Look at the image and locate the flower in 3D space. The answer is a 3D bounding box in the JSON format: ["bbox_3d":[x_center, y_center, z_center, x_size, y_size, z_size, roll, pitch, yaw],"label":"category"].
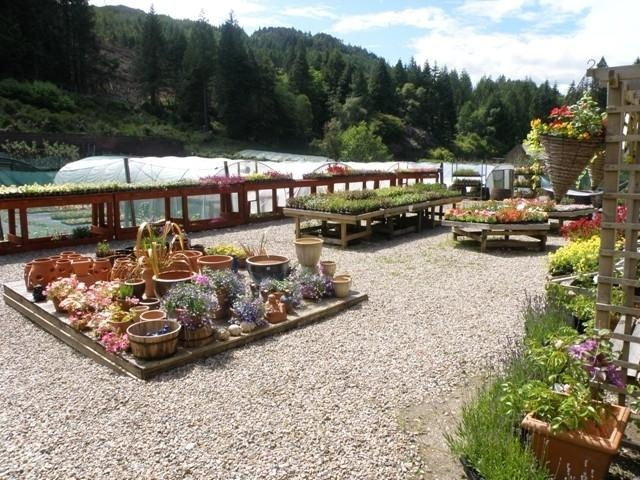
[{"bbox_3d":[3.562,-1.742,7.444,1.216,0.608,1.250,6,14,42],"label":"flower"}]
